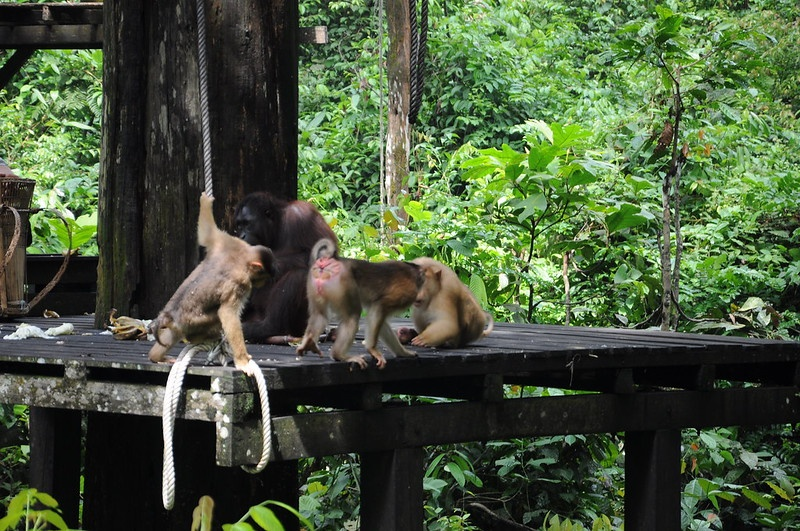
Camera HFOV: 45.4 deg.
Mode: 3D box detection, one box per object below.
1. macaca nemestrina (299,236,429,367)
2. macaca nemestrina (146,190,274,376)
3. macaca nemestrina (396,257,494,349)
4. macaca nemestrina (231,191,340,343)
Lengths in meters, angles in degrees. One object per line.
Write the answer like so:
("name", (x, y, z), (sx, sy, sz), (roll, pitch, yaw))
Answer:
("macaca nemestrina", (-0.167, 0.168, 4.659), (0.755, 0.646, 0.307), (3, 3, -35))
("macaca nemestrina", (-0.862, 0.076, 4.443), (0.554, 0.782, 0.279), (5, 8, 22))
("macaca nemestrina", (0.267, 0.227, 5.183), (0.674, 0.480, 0.361), (9, -1, -39))
("macaca nemestrina", (-0.656, 0.006, 5.353), (0.772, 0.881, 0.609), (2, -7, -16))
